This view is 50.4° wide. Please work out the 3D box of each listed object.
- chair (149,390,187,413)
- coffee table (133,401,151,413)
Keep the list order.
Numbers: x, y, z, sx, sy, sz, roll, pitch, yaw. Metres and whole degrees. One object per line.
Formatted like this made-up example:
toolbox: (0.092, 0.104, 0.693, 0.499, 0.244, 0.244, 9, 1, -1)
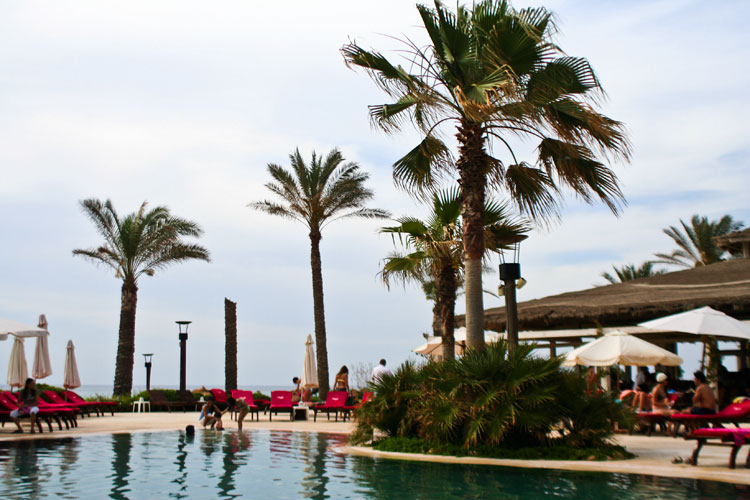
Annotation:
chair: (-9.959, 7.158, 38.180, 1.116, 0.881, 1.632, 5, -24, -21)
coffee table: (-11.065, 7.348, 37.788, 0.707, 0.736, 0.573, -1, -15, -3)
